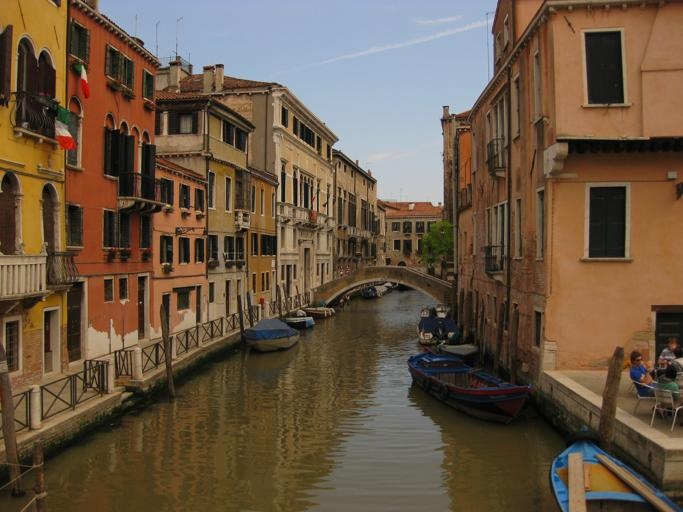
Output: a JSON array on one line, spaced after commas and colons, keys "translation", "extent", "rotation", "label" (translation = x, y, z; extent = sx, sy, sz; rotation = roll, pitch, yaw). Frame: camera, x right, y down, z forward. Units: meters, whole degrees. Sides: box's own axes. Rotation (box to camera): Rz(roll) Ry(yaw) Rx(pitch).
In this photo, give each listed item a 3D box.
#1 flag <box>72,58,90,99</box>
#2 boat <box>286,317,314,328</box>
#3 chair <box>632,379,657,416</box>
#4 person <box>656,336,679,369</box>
[{"translation": [-10.068, -6.789, 29.919], "extent": [0.586, 1.349, 1.484], "rotation": [-3, 7, -19], "label": "flag"}, {"translation": [-2.672, 4.269, 48.777], "extent": [1.274, 0.463, 0.767], "rotation": [-1, 4, 0], "label": "boat"}, {"translation": [9.021, 3.963, 23.079], "extent": [0.798, 1.226, 0.783], "rotation": [-3, 18, 16], "label": "chair"}, {"translation": [10.666, 3.145, 25.204], "extent": [0.679, 1.536, 0.503], "rotation": [-14, 14, -41], "label": "person"}]
